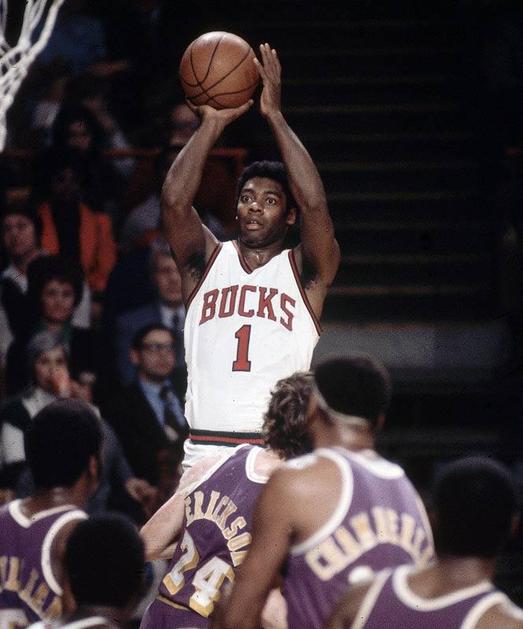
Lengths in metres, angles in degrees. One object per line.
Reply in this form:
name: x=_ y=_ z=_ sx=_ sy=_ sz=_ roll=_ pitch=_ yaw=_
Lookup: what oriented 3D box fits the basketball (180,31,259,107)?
basketball: x=-0.155 y=-0.968 z=4.587 sx=0.346 sy=0.295 sz=0.320 roll=-1 pitch=0 yaw=-38
